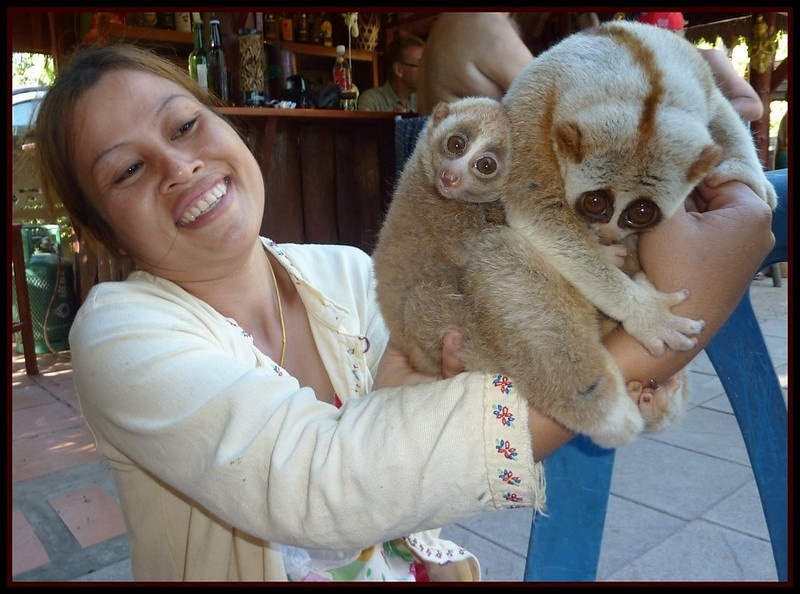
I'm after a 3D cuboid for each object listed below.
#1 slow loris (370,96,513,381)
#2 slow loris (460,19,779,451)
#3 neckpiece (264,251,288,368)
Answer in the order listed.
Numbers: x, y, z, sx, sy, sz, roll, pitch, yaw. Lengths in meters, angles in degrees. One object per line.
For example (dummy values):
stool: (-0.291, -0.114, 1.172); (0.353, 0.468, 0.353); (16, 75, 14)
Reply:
slow loris: (0.099, -0.168, 1.615); (0.256, 0.695, 0.401); (11, 1, 1)
slow loris: (0.578, -0.226, 1.723); (0.683, 1.097, 0.598); (-11, -7, 26)
neckpiece: (-0.440, 0.052, 2.201); (0.032, 0.366, 0.080); (1, -25, -39)
